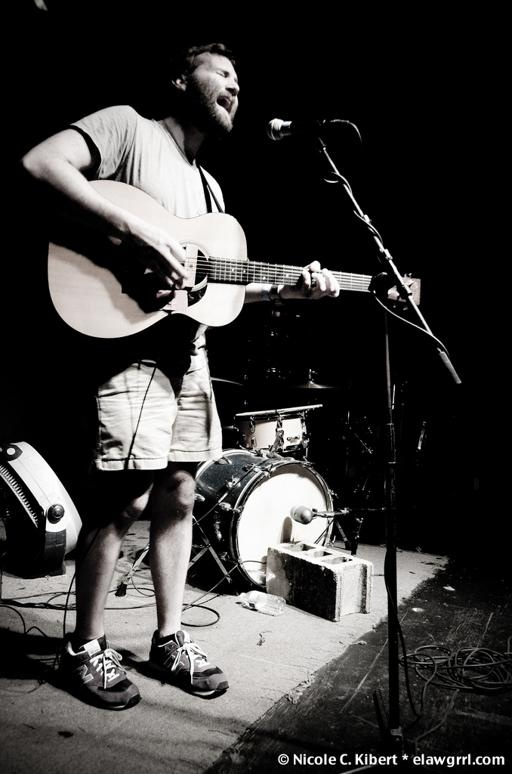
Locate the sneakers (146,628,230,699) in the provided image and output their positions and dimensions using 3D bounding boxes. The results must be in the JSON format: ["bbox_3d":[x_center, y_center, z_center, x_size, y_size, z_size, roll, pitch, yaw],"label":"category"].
[{"bbox_3d":[-0.220,0.842,2.128,0.313,0.149,0.119,3,-9,40],"label":"sneakers"}]

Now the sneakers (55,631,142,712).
[{"bbox_3d":[-0.469,0.828,1.998,0.325,0.150,0.124,1,-6,40],"label":"sneakers"}]

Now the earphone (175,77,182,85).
[{"bbox_3d":[-0.235,-0.933,2.085,0.015,0.028,0.006,21,6,11],"label":"earphone"}]

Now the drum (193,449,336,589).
[{"bbox_3d":[-0.079,0.646,3.329,0.396,0.575,0.645,-1,-1,31],"label":"drum"}]

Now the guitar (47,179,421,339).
[{"bbox_3d":[-0.206,-0.342,2.039,0.182,0.434,0.851,4,2,42],"label":"guitar"}]

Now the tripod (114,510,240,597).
[{"bbox_3d":[-0.346,0.863,3.301,0.437,0.593,0.460,17,-10,-2],"label":"tripod"}]
